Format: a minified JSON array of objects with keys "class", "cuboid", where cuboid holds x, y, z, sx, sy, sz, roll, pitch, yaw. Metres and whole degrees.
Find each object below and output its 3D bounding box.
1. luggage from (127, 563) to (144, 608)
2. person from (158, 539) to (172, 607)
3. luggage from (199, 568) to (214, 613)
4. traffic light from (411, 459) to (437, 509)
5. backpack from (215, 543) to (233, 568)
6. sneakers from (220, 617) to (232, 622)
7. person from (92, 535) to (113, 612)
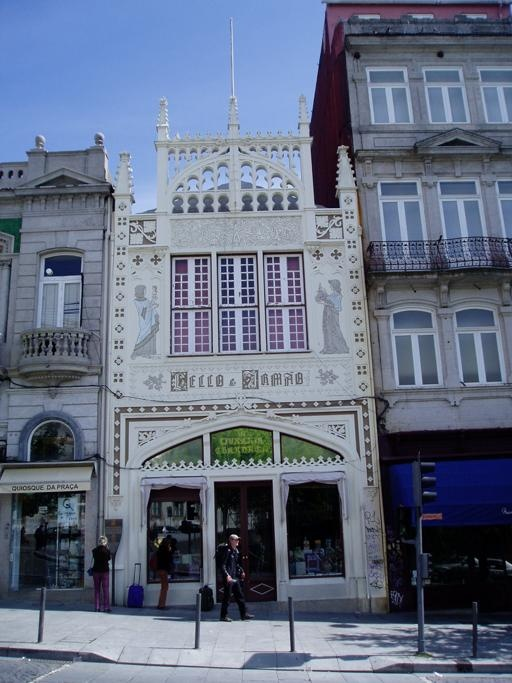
[{"class":"luggage","cuboid":[-2.892,5.923,17.724,0.398,0.970,0.569,4,-9,-8]},{"class":"person","cuboid":[-2.230,5.593,17.689,0.297,1.654,0.560,3,-9,0]},{"class":"luggage","cuboid":[-1.147,6.108,17.447,0.276,0.617,0.833,2,-8,5]},{"class":"traffic light","cuboid":[3.074,2.651,13.437,0.393,0.930,0.913,1,-9,10]},{"class":"backpack","cuboid":[-0.665,4.574,15.506,0.344,0.528,0.899,3,-8,-1]},{"class":"sneakers","cuboid":[-0.654,5.900,15.526,0.313,0.115,0.098,0,-8,-6]},{"class":"person","cuboid":[-3.451,5.235,16.515,0.478,1.735,1.364,4,-9,-8]}]
